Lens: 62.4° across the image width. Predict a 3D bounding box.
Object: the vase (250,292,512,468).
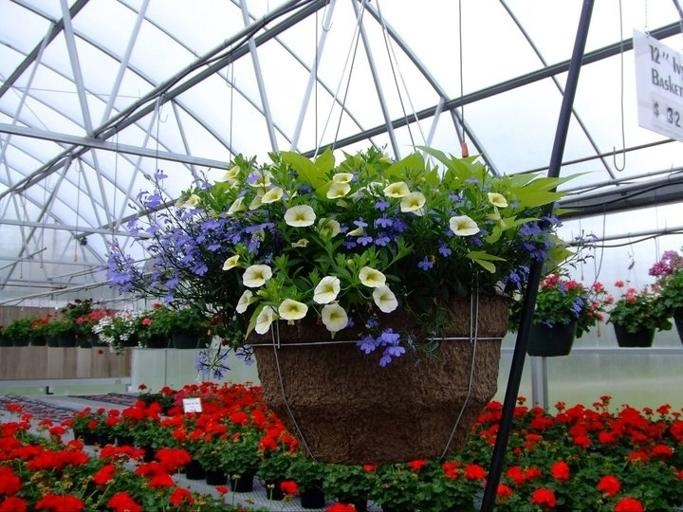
[{"bbox_3d":[0.117,0.369,1.557,0.507,0.290,0.528,-7,-10,34],"label":"vase"}]
